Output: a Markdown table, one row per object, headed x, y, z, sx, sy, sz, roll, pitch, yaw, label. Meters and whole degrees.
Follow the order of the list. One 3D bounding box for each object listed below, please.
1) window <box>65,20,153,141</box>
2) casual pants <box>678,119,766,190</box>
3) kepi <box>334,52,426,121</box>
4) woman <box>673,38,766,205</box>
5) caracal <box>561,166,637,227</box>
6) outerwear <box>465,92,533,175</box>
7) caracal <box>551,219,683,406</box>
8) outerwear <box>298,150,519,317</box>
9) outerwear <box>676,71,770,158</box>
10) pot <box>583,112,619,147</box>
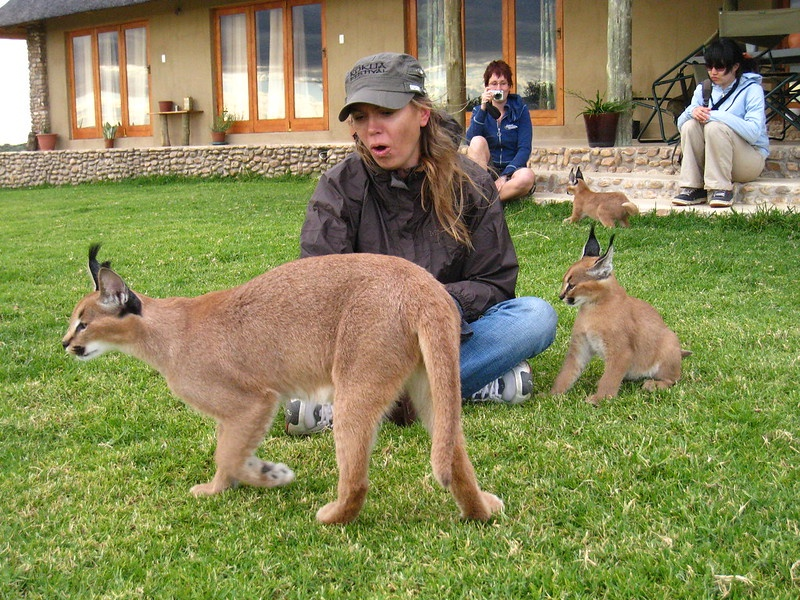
| x | y | z | sx | sy | sz | roll | pitch | yaw | label |
| --- | --- | --- | --- | --- | --- | --- | --- | --- | --- |
| -8.692 | -6.829 | 24.984 | 3.094 | 4.097 | 0.275 | 3 | 7 | 27 | window |
| 4.523 | -1.962 | 11.578 | 1.317 | 0.913 | 0.731 | 9 | -7 | -36 | casual pants |
| -0.126 | -1.506 | 5.698 | 0.428 | 0.350 | 0.605 | -2 | 11 | 32 | kepi |
| 4.506 | -2.449 | 11.507 | 1.316 | 2.343 | 1.042 | 0 | 0 | -31 | woman |
| 2.822 | -1.413 | 11.717 | 0.440 | 0.932 | 1.276 | -5 | 15 | -34 | caracal |
| 1.581 | -2.461 | 12.637 | 0.875 | 1.364 | 0.958 | 0 | 5 | 31 | outerwear |
| 1.671 | 0.125 | 6.393 | 0.968 | 1.208 | 0.537 | 3 | 12 | 20 | caracal |
| 0.051 | -0.474 | 6.185 | 1.604 | 1.855 | 1.132 | 2 | 5 | 6 | outerwear |
| 4.550 | -2.496 | 11.349 | 1.214 | 1.315 | 0.950 | -16 | 15 | -28 | outerwear |
| 3.479 | -2.995 | 14.339 | 0.506 | 0.490 | 0.520 | -2 | 12 | 0 | pot |
